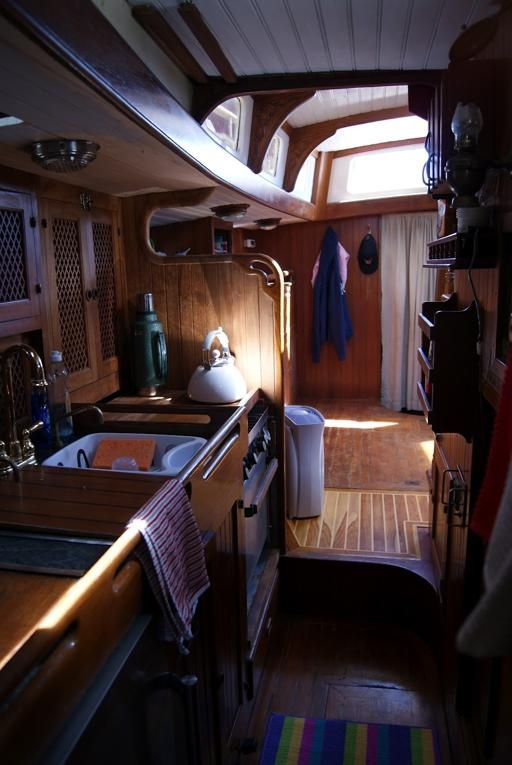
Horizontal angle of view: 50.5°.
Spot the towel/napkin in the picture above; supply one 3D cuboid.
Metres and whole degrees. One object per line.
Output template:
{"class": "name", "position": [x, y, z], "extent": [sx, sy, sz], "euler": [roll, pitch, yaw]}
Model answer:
{"class": "towel/napkin", "position": [-0.172, 0.377, 1.143], "extent": [0.090, 0.319, 0.311], "euler": [-1, 7, 5]}

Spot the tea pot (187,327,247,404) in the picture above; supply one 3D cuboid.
{"class": "tea pot", "position": [-0.189, -0.087, 2.490], "extent": [0.256, 0.319, 0.386], "euler": [-2, 7, -7]}

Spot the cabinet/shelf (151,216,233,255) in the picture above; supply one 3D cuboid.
{"class": "cabinet/shelf", "position": [-0.466, -1.033, 3.940], "extent": [0.473, 0.287, 0.735], "euler": [0, 7, 8]}
